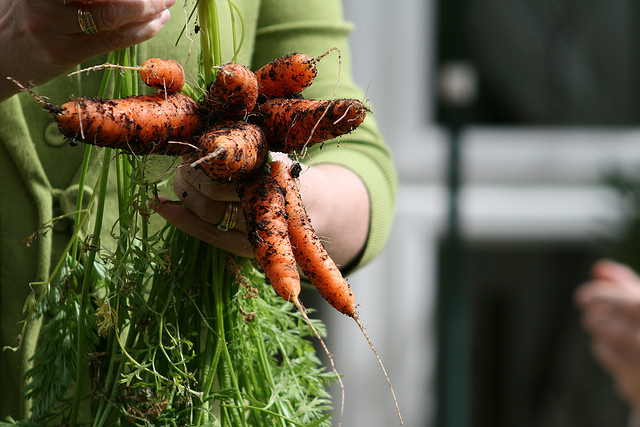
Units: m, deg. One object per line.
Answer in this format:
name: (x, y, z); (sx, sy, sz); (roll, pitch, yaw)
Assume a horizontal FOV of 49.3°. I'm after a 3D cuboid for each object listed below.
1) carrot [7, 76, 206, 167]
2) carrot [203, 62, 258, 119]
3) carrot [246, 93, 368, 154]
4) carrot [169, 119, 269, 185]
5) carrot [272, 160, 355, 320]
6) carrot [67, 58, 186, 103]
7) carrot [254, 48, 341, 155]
carrot: (-0.377, -0.172, 1.439); (0.472, 0.182, 0.145); (5, -20, -23)
carrot: (-0.169, -0.238, 1.362); (0.080, 0.069, 0.116); (1, -58, 1)
carrot: (-0.044, -0.165, 1.441); (0.279, 0.107, 0.098); (-7, -3, 29)
carrot: (-0.162, -0.144, 1.427); (0.135, 0.097, 0.260); (-5, 18, 30)
carrot: (-0.010, 0.053, 1.452); (0.133, 0.347, 0.135); (3, 7, 20)
carrot: (-0.410, -0.277, 1.422); (0.251, 0.092, 0.088); (10, 7, -2)
carrot: (-0.027, -0.229, 1.329); (0.065, 0.239, 0.134); (17, -73, -30)
